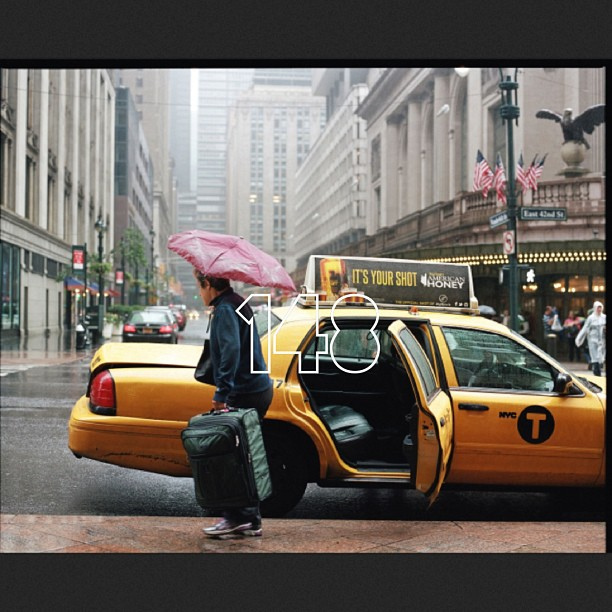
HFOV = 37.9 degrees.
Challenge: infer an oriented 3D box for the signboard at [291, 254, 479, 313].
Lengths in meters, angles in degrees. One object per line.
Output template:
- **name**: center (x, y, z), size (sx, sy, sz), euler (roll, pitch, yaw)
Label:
- **signboard**: center (0.727, -0.183, 7.896), size (1.769, 0.461, 0.525), euler (1, -4, -16)

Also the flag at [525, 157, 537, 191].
- **flag**: center (4.026, -2.365, 15.998), size (0.177, 0.418, 0.530), euler (3, 6, 12)

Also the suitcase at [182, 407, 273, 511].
- **suitcase**: center (-0.604, 1.189, 6.880), size (0.624, 0.774, 0.480), euler (-12, -4, 34)

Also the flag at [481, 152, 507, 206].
- **flag**: center (3.801, -2.660, 17.881), size (0.660, 1.357, 0.156), euler (8, -33, 11)

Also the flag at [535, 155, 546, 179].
- **flag**: center (4.771, -2.861, 18.155), size (0.166, 0.264, 1.137), euler (23, 21, 10)
